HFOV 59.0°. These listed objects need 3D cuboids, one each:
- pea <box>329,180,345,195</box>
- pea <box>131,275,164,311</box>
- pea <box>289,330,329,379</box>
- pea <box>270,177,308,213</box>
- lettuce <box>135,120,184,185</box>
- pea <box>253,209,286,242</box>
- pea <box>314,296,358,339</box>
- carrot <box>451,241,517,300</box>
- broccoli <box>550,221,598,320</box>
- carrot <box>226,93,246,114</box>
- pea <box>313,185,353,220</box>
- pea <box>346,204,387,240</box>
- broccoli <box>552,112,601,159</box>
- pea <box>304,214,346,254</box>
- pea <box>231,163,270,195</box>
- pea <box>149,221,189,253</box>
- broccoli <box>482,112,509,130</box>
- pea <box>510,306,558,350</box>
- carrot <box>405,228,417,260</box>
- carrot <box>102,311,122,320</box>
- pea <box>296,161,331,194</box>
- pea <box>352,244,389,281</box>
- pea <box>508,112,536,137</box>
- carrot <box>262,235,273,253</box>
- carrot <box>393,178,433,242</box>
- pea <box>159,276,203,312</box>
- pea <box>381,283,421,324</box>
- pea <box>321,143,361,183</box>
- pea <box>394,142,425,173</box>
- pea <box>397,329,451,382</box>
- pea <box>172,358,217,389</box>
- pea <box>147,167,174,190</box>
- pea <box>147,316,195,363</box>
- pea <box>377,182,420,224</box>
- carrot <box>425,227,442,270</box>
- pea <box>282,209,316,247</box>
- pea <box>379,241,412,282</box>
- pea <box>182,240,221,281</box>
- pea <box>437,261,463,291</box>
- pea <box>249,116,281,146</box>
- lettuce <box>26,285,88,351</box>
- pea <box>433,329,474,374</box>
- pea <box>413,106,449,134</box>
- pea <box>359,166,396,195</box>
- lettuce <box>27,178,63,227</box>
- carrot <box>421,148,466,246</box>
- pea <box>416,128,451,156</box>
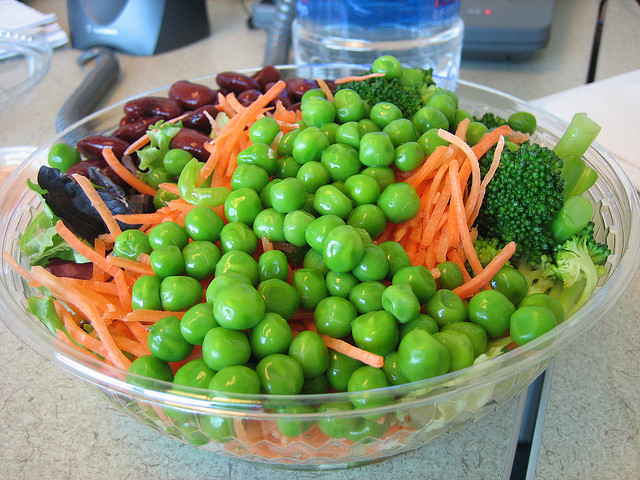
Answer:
[{"bbox_3d":[0.037,-0.120,1.236,0.023,0.024,0.023,-24,53,-28],"label":"pea"},{"bbox_3d":[-0.344,0.104,1.117,0.057,0.090,0.061,1,8,-10],"label":"pea"},{"bbox_3d":[-0.023,0.213,1.050,0.064,0.089,0.064,2,12,-12],"label":"pea"},{"bbox_3d":[-0.065,-0.092,1.171,0.070,0.073,0.066,-2,7,39],"label":"pea"},{"bbox_3d":[-0.406,-0.234,1.455,0.129,0.053,0.133,-34,52,9],"label":"lettuce"},{"bbox_3d":[-0.104,-0.032,1.181,0.060,0.080,0.062,1,6,-8],"label":"pea"},{"bbox_3d":[0.031,0.149,1.087,0.074,0.074,0.082,1,88,-5],"label":"pea"},{"bbox_3d":[0.345,0.068,1.199,0.027,0.135,0.020,30,20,-15],"label":"carrot"},{"bbox_3d":[0.549,0.063,1.207,0.109,0.049,0.179,-24,91,-24],"label":"broccoli"},{"bbox_3d":[-0.221,-0.358,1.480,0.032,0.021,0.130,-43,35,7],"label":"carrot"},{"bbox_3d":[0.026,-0.079,1.173,0.039,0.060,0.076,-51,21,-5],"label":"pea"},{"bbox_3d":[0.100,-0.033,1.190,0.076,0.064,0.063,-2,74,20],"label":"pea"},{"bbox_3d":[0.618,-0.256,1.331,0.056,0.120,0.074,6,54,3],"label":"broccoli"},{"bbox_3d":[0.015,-0.025,1.179,0.078,0.064,0.061,-24,58,-12],"label":"pea"},{"bbox_3d":[-0.153,-0.137,1.232,0.063,0.066,0.063,-27,23,-28],"label":"pea"},{"bbox_3d":[-0.321,-0.010,1.184,0.059,0.062,0.061,-1,43,30],"label":"pea"},{"bbox_3d":[0.476,-0.324,1.530,0.060,0.032,0.045,7,64,6],"label":"broccoli"},{"bbox_3d":[0.411,0.162,1.089,0.079,0.054,0.058,-12,49,-9],"label":"pea"},{"bbox_3d":[0.198,0.010,1.225,0.023,0.012,0.100,-14,51,28],"label":"carrot"},{"bbox_3d":[-0.414,0.149,1.115,0.029,0.008,0.019,-8,44,-45],"label":"carrot"},{"bbox_3d":[-0.010,-0.135,1.244,0.065,0.077,0.065,-13,82,4],"label":"pea"},{"bbox_3d":[0.104,0.049,1.164,0.065,0.062,0.081,-1,88,21],"label":"pea"},{"bbox_3d":[0.542,-0.315,1.506,0.053,0.057,0.069,13,2,-43],"label":"pea"},{"bbox_3d":[-0.110,0.010,1.180,0.007,0.019,0.028,-8,69,-35],"label":"carrot"},{"bbox_3d":[0.200,-0.059,1.219,0.022,0.036,0.139,29,81,-5],"label":"carrot"},{"bbox_3d":[-0.276,0.106,1.111,0.074,0.047,0.062,20,87,1],"label":"pea"},{"bbox_3d":[0.152,0.118,1.062,0.065,0.041,0.070,12,54,-21],"label":"pea"},{"bbox_3d":[0.046,-0.181,1.275,0.095,0.065,0.098,-4,43,-19],"label":"pea"},{"bbox_3d":[0.203,-0.194,1.281,0.063,0.062,0.068,1,-1,-36],"label":"pea"},{"bbox_3d":[0.197,0.225,1.049,0.103,0.102,0.113,1,82,6],"label":"pea"},{"bbox_3d":[-0.231,0.247,1.036,0.045,0.036,0.060,30,30,33],"label":"pea"},{"bbox_3d":[-0.396,-0.154,1.388,0.045,0.036,0.055,-1,18,-2],"label":"pea"},{"bbox_3d":[-0.280,0.190,1.099,0.077,0.100,0.078,19,13,34],"label":"pea"},{"bbox_3d":[0.170,-0.078,1.216,0.092,0.076,0.064,2,48,3],"label":"pea"},{"bbox_3d":[0.239,0.018,1.216,0.019,0.023,0.092,17,79,3],"label":"carrot"},{"bbox_3d":[-0.050,-0.028,1.160,0.061,0.066,0.076,19,84,-20],"label":"pea"},{"bbox_3d":[0.154,0.039,1.211,0.059,0.046,0.078,-30,34,-12],"label":"pea"},{"bbox_3d":[-0.251,0.028,1.184,0.089,0.050,0.072,-5,25,-29],"label":"pea"},{"bbox_3d":[0.273,0.075,1.190,0.042,0.045,0.061,-4,60,1],"label":"pea"},{"bbox_3d":[-0.128,-0.258,1.319,0.080,0.042,0.057,-35,56,-26],"label":"pea"},{"bbox_3d":[-0.520,0.154,1.113,0.133,0.030,0.044,51,42,-11],"label":"lettuce"},{"bbox_3d":[0.258,0.202,1.044,0.052,0.044,0.074,-3,14,5],"label":"pea"},{"bbox_3d":[0.262,-0.287,1.339,0.068,0.055,0.058,0,59,9],"label":"pea"},{"bbox_3d":[0.133,-0.136,1.247,0.050,0.041,0.068,3,15,-18],"label":"pea"},{"bbox_3d":[-0.631,-0.087,1.293,0.030,0.120,0.020,-22,10,29],"label":"lettuce"},{"bbox_3d":[0.269,-0.088,1.234,0.033,0.030,0.221,10,70,38],"label":"carrot"},{"bbox_3d":[0.257,-0.226,1.285,0.065,0.053,0.055,2,53,-3],"label":"pea"}]
